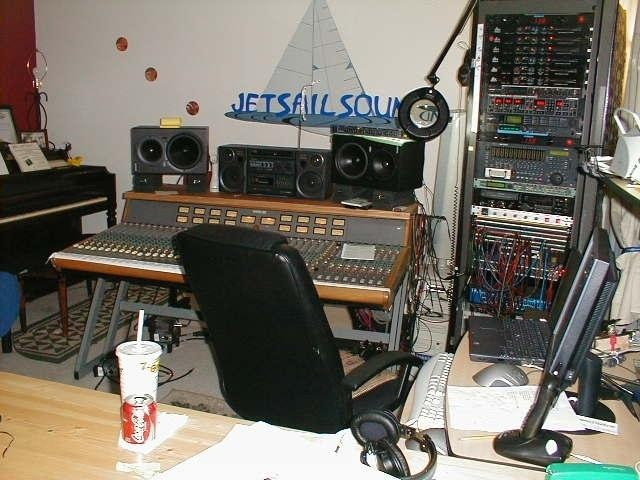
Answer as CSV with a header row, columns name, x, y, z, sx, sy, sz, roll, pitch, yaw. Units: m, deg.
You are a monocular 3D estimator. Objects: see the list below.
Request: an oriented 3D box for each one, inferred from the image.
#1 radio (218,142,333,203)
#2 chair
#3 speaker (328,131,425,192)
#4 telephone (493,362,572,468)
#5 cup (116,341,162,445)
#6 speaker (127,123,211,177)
name,x,y,z,sx,sy,sz,roll,pitch,yaw
radio,-0.284,-0.405,2.896,0.676,0.281,0.144,8,16,19
chair,-0.057,0.236,1.820,0.701,0.761,0.694,8,15,18
speaker,0.352,-0.484,2.854,0.463,0.352,0.399,11,16,32
telephone,0.563,0.441,1.283,0.212,0.228,0.170,3,2,26
cup,-0.431,0.357,1.192,0.106,0.238,0.113,2,10,0
speaker,-0.894,-0.544,2.944,0.455,0.294,0.158,4,15,6
